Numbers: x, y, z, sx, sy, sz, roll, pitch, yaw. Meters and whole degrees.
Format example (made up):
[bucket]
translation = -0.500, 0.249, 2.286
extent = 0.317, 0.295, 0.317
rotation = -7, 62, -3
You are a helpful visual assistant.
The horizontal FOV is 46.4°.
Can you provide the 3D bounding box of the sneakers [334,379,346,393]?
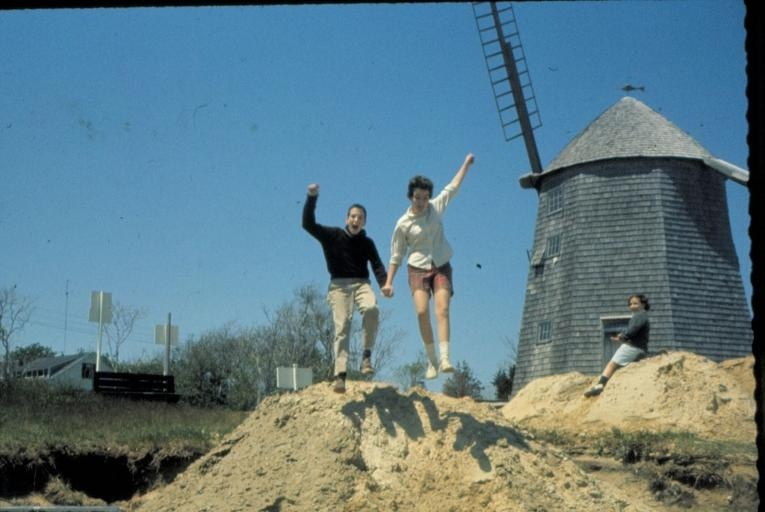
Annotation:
[sneakers]
translation = -0.737, 3.084, 21.406
extent = 0.254, 0.322, 0.525
rotation = 0, -8, 3
